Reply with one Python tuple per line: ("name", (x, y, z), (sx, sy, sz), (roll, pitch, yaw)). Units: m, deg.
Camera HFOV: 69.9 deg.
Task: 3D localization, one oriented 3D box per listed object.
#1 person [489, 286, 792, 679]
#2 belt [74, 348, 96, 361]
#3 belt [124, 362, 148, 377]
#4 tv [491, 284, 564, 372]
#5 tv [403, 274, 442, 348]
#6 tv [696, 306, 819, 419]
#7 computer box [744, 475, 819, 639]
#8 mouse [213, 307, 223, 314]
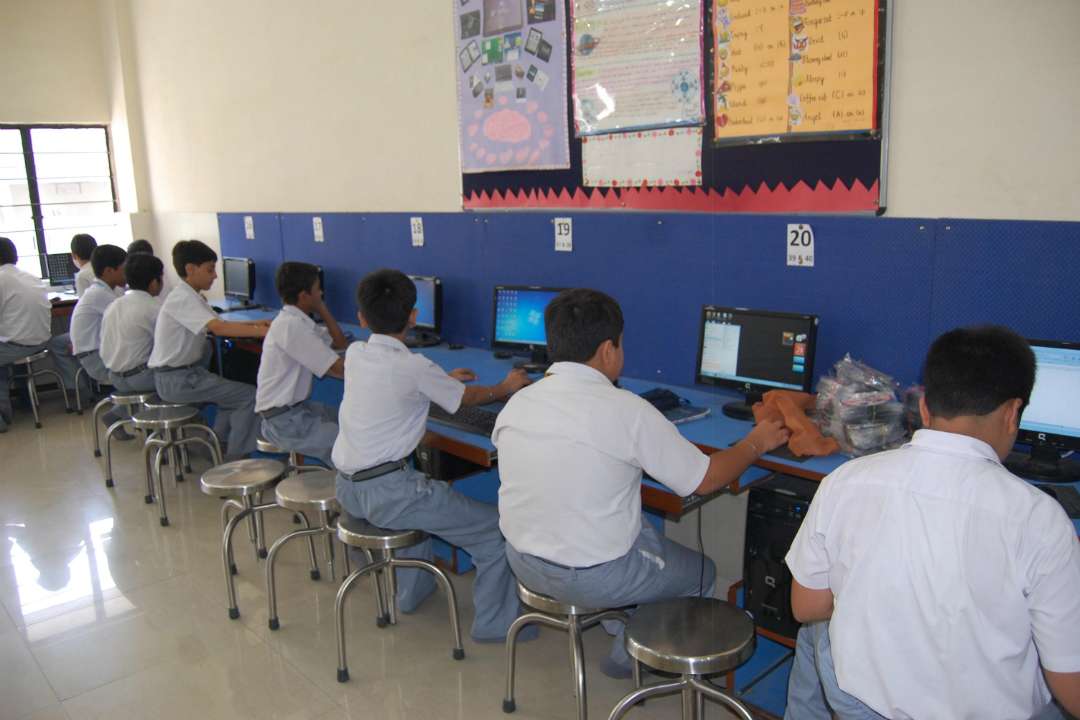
("person", (0.421, 0.548, 3.153), (1.162, 1.588, 1.073), (-1, 5, -3))
("belt", (-3.528, -0.031, 5.995), (0.138, 0.050, 0.103), (0, 4, 9))
("belt", (-2.711, 0.085, 5.180), (0.115, 0.029, 0.116), (-28, 5, 12))
("tv", (-0.026, -0.179, 4.240), (0.444, 0.420, 0.228), (5, 4, 20))
("tv", (-0.755, -0.296, 4.737), (0.219, 0.404, 0.420), (-1, 2, 13))
("tv", (0.965, 0.010, 3.381), (0.448, 0.407, 0.202), (8, 8, 41))
("computer box", (0.986, 0.776, 3.047), (0.378, 0.548, 0.356), (2, 6, -5))
("mouse", (-2.499, -0.376, 5.993), (0.085, 0.032, 0.132), (-3, 11, -30))
